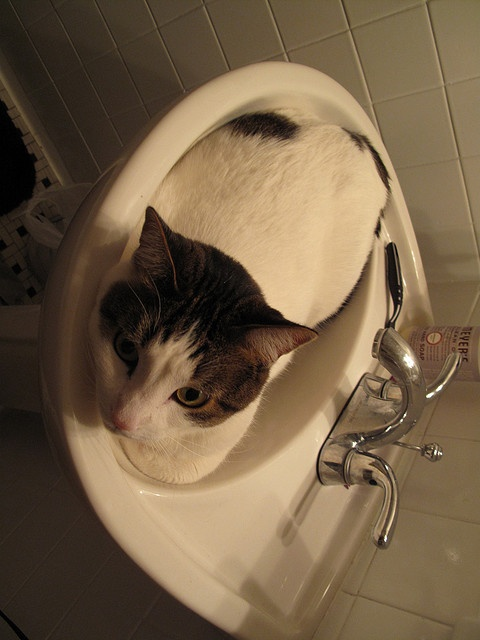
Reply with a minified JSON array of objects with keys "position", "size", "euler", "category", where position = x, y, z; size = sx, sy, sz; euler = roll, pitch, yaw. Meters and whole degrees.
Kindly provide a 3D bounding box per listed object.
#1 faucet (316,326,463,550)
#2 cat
[{"position":[0.161,0.119,0.653],"size":[0.130,0.183,0.265],"euler":[8,86,52],"category":"faucet"},{"position":[-0.001,-0.085,0.550],"size":[0.264,0.232,0.456],"euler":[31,62,-8],"category":"cat"}]
